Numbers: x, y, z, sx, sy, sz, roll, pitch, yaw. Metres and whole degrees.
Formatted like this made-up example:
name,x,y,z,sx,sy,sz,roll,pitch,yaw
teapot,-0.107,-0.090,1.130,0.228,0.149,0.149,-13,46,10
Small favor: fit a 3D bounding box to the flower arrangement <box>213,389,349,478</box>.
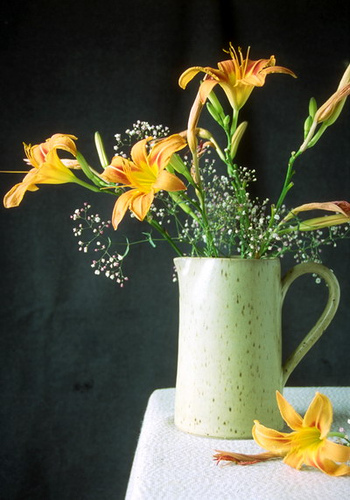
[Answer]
name,x,y,z,sx,sy,sz,roll,pitch,yaw
flower arrangement,0.111,0.184,0.484,0.120,0.088,0.049,-10,-6,21
